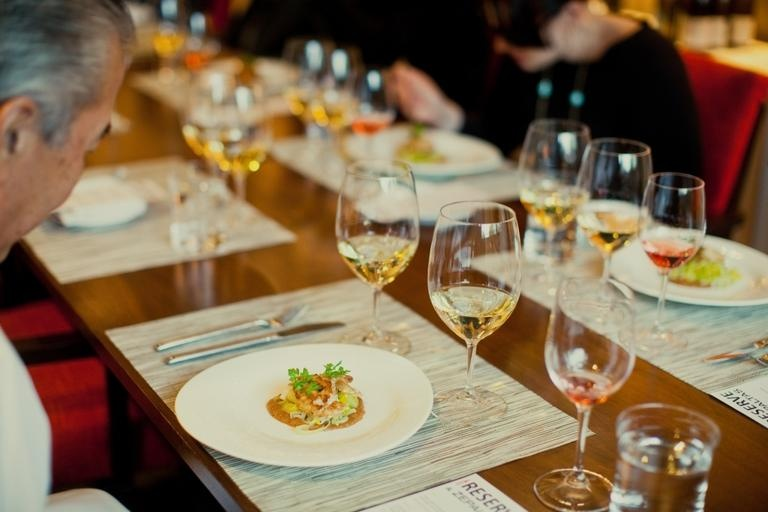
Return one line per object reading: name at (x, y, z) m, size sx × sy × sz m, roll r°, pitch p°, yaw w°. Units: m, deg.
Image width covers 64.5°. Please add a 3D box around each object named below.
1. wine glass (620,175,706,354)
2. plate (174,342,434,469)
wine glass at (0.603, -0.008, 1.302) m, size 0.128 × 0.315 × 0.327 m, roll 10°, pitch 30°, yaw 23°
plate at (-0.137, 0.249, 1.061) m, size 0.436 × 0.049 × 0.308 m, roll -1°, pitch 26°, yaw 5°
